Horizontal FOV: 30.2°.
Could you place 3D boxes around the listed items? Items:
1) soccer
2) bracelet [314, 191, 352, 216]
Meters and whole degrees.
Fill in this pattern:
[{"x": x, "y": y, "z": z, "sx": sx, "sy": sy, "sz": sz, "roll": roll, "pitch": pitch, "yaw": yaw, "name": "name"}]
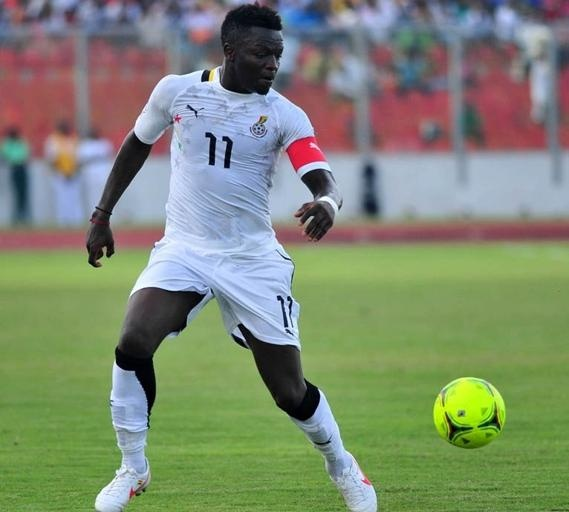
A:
[{"x": 1.043, "y": 0.936, "z": 6.383, "sx": 0.443, "sy": 0.393, "sz": 0.410, "roll": -10, "pitch": 6, "yaw": -2, "name": "soccer"}, {"x": 0.245, "y": -0.299, "z": 5.749, "sx": 0.144, "sy": 0.137, "sz": 0.130, "roll": -41, "pitch": -7, "yaw": -30, "name": "bracelet"}]
